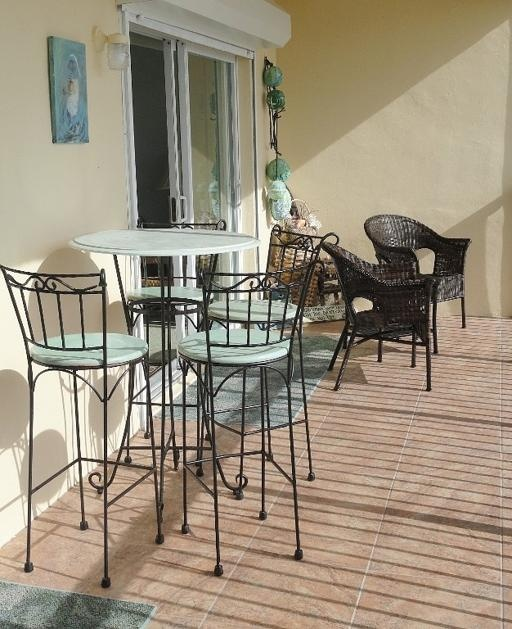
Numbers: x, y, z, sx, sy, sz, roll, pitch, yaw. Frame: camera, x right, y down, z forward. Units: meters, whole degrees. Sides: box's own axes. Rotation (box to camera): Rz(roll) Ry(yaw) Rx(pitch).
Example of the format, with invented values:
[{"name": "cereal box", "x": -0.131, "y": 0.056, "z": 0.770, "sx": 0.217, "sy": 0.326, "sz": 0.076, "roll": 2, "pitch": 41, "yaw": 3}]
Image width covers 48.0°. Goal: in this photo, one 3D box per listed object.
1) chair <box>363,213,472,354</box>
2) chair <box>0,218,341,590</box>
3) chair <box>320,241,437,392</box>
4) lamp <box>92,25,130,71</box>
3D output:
[{"name": "chair", "x": 1.320, "y": -0.252, "z": 4.812, "sx": 0.827, "sy": 1.029, "sz": 0.823, "roll": -23, "pitch": 23, "yaw": -20}, {"name": "chair", "x": -0.343, "y": 0.354, "z": 2.505, "sx": 1.399, "sy": 1.255, "sz": 1.383, "roll": 2, "pitch": 15, "yaw": 4}, {"name": "chair", "x": 0.802, "y": 0.003, "z": 3.827, "sx": 0.742, "sy": 0.913, "sz": 0.786, "roll": 2, "pitch": 8, "yaw": 23}, {"name": "lamp", "x": -0.659, "y": -1.201, "z": 2.626, "sx": 0.152, "sy": 0.186, "sz": 0.199, "roll": -4, "pitch": 11, "yaw": -12}]
